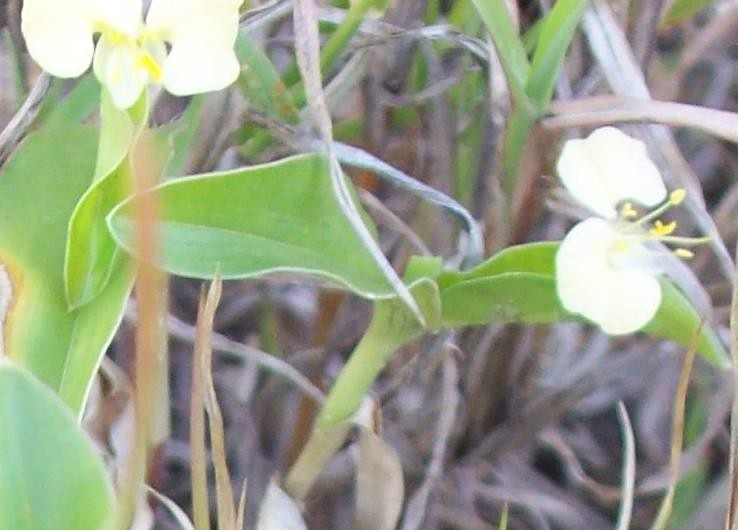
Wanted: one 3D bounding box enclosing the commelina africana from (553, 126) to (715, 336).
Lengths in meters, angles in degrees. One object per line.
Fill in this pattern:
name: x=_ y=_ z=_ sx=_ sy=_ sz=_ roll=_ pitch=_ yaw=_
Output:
commelina africana: x=0.127 y=-0.016 z=0.614 sx=0.069 sy=0.096 sz=0.116 roll=-11 pitch=-7 yaw=15
